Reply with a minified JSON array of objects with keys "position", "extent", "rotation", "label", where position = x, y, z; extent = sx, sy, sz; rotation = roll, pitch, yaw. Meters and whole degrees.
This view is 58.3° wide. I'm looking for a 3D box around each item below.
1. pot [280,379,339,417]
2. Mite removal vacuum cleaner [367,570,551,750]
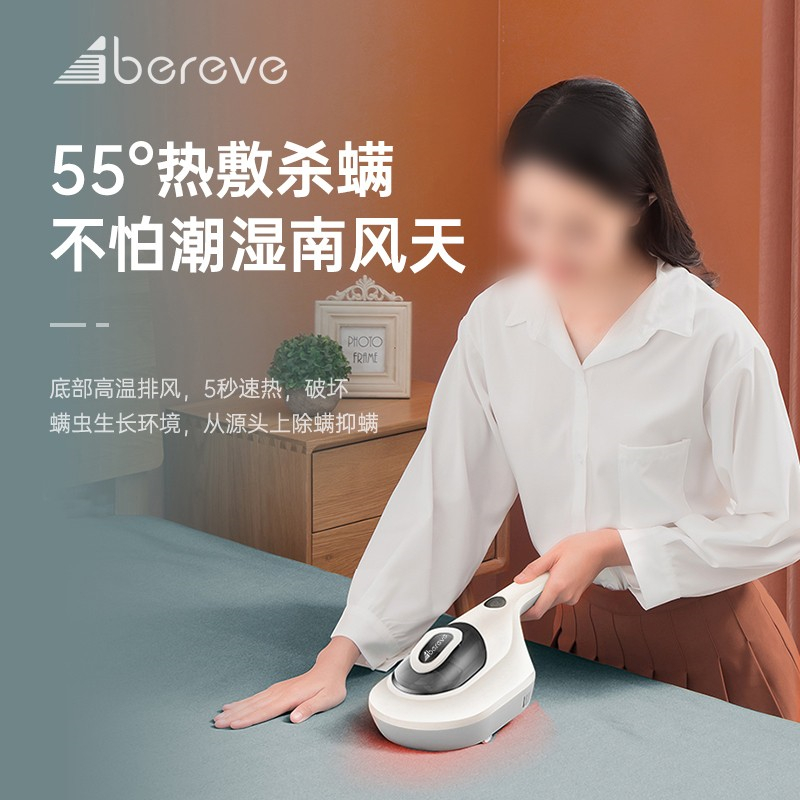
[{"position":[-0.217,-0.006,1.815],"extent":[0.108,0.067,0.100],"rotation":[-1,5,0],"label":"pot"},{"position":[0.102,0.279,0.801],"extent":[0.134,0.118,0.345],"rotation":[-8,-5,39],"label":"Mite removal vacuum cleaner"}]
